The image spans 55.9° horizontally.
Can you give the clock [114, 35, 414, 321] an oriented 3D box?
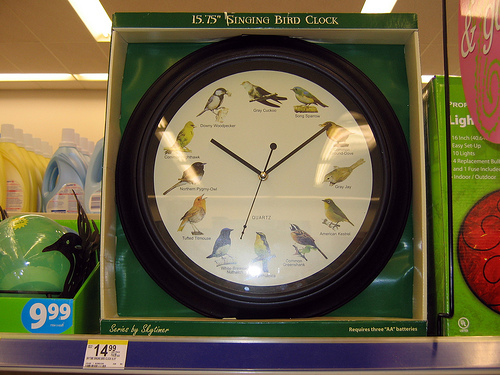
[{"bbox_3d":[0.038,0.004,1.250,0.709,0.072,0.723,1,81,2],"label":"clock"}]
